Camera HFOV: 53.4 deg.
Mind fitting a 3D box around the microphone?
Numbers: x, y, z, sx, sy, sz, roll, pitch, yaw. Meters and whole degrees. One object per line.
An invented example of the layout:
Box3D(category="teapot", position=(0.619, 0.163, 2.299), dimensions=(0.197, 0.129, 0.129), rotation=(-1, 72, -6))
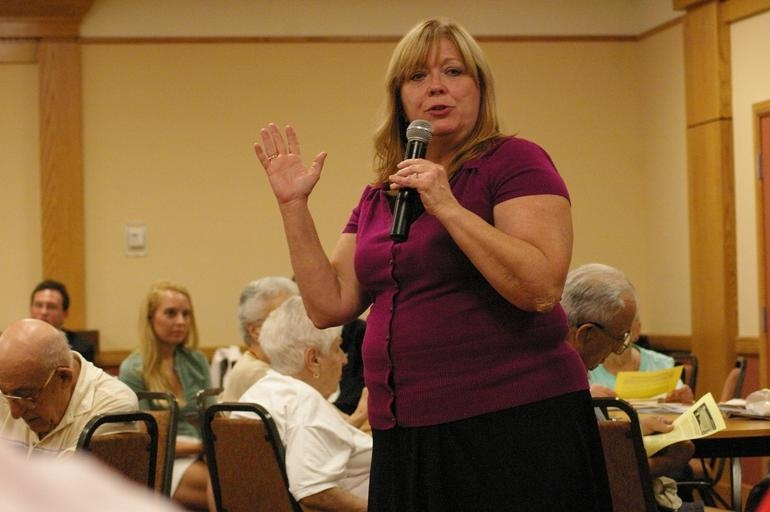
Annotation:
Box3D(category="microphone", position=(0.084, -0.246, 2.534), dimensions=(0.110, 0.448, 0.110), rotation=(29, -26, -31))

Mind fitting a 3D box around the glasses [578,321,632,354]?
Box3D(category="glasses", position=(0.989, 0.385, 3.420), dimensions=(0.169, 0.057, 0.172), rotation=(29, -12, 9))

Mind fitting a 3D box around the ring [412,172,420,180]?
Box3D(category="ring", position=(0.095, -0.250, 2.374), dimensions=(0.022, 0.027, 0.015), rotation=(-4, -5, -2))
